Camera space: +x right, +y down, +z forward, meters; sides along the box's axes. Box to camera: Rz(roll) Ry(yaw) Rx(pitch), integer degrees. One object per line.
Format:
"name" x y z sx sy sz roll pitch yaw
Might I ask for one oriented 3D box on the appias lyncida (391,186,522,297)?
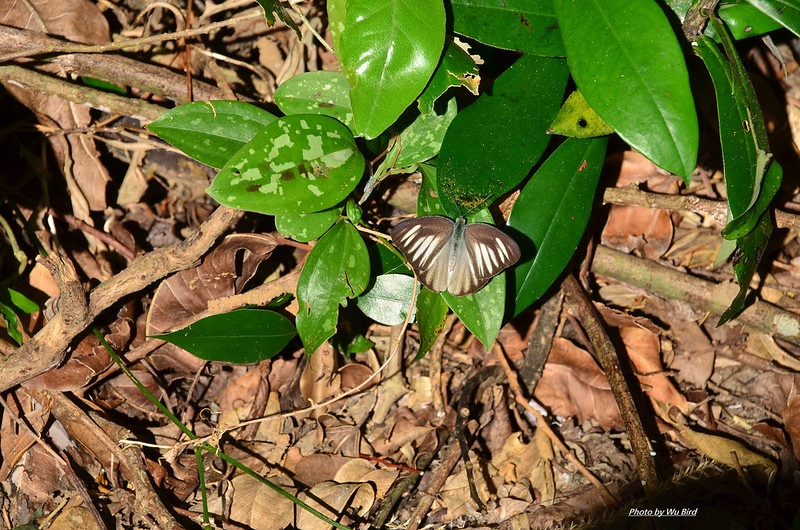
"appias lyncida" 0.181 -0.086 2.314 0.327 0.291 0.355 4 11 16
